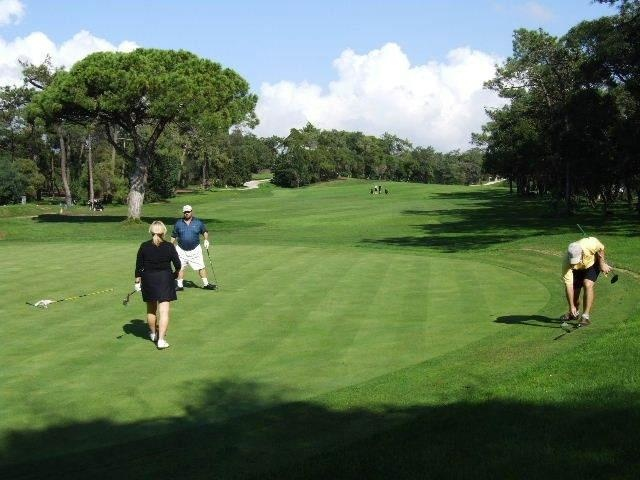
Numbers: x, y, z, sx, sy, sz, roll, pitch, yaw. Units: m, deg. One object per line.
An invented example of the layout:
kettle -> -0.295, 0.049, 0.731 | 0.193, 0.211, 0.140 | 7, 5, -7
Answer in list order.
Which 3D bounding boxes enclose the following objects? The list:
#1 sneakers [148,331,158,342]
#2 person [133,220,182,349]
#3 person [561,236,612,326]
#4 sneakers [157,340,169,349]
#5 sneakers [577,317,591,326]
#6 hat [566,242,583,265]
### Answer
sneakers -> -3.239, 1.866, 9.691 | 0.124, 0.141, 0.346 | 0, -2, -27
person -> -3.099, 0.789, 9.620 | 0.838, 2.301, 1.340 | -4, 9, -19
person -> 5.522, 0.789, 10.459 | 0.823, 1.754, 1.533 | 4, 9, 28
sneakers -> -2.903, 1.903, 9.263 | 0.201, 0.170, 0.259 | -3, 8, -17
sneakers -> 5.268, 1.623, 9.987 | 0.325, 0.127, 0.124 | 0, 0, -44
hat -> 5.093, 0.245, 10.008 | 0.276, 0.407, 0.159 | -4, -9, 33
